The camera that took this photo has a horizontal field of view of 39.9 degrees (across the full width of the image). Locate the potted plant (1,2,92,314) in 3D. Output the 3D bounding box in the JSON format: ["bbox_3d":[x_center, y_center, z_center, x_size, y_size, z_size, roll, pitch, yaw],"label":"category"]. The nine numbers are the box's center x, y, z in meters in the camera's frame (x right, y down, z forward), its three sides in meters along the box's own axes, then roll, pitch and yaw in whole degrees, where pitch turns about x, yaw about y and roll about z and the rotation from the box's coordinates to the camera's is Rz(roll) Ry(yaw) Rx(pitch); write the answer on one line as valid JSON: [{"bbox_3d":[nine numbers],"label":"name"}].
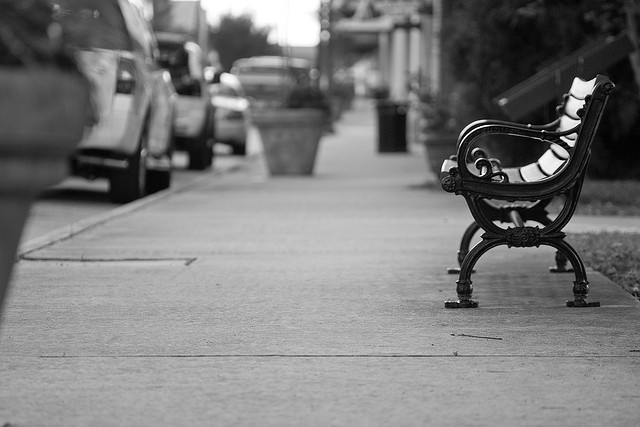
[{"bbox_3d":[-0.903,-0.229,2.874,0.319,0.878,0.328,-2,9,-14],"label":"potted plant"}]

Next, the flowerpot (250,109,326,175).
[{"bbox_3d":[-0.517,-1.158,13.949,1.251,0.944,0.981,0,9,1],"label":"flowerpot"}]

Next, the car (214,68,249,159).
[{"bbox_3d":[-1.831,-2.062,18.309,0.690,1.853,3.362,-1,8,-6],"label":"car"}]
